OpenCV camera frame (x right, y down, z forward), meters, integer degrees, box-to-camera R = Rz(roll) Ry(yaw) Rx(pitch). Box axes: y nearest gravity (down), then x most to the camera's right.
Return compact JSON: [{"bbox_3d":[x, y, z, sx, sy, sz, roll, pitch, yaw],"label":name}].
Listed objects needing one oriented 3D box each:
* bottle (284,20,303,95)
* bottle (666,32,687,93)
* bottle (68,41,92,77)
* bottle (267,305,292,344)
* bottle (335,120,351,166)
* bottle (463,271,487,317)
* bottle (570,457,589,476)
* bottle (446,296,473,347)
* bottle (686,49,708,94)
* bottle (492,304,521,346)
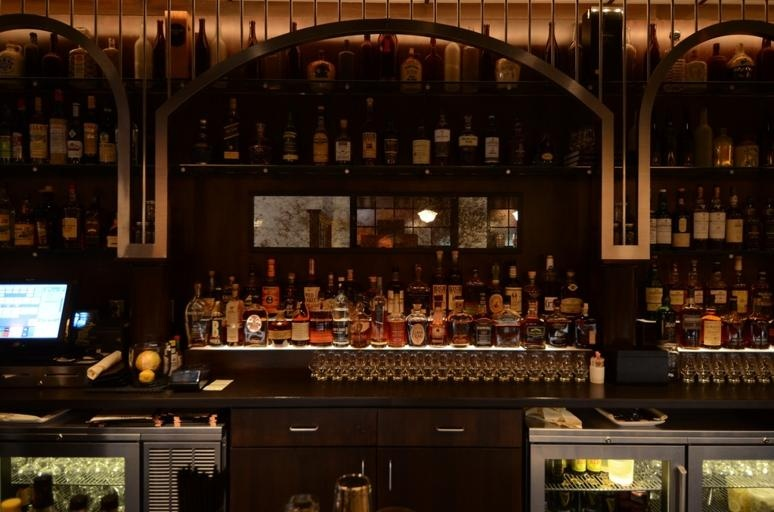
[{"bbox_3d":[-0.619,-1.423,6.173,0.137,0.141,0.454,-15,-37,-13],"label":"bottle"},{"bbox_3d":[1.910,-1.331,6.044,0.129,0.358,0.135,-1,11,0],"label":"bottle"},{"bbox_3d":[-2.048,-1.290,6.046,0.121,0.217,0.117,-2,-5,0],"label":"bottle"},{"bbox_3d":[-0.720,0.471,6.033,0.166,0.250,0.152,-1,2,0],"label":"bottle"},{"bbox_3d":[-0.297,-0.761,6.114,0.132,0.334,0.128,-1,-16,0],"label":"bottle"},{"bbox_3d":[0.603,0.252,6.137,0.127,0.311,0.128,9,-6,1],"label":"bottle"},{"bbox_3d":[1.199,1.306,5.666,0.134,0.125,0.137,-1,-3,16],"label":"bottle"},{"bbox_3d":[0.482,0.422,6.030,0.198,0.320,0.201,-1,14,0],"label":"bottle"},{"bbox_3d":[2.049,-1.284,6.010,0.130,0.067,0.294,3,-35,21],"label":"bottle"},{"bbox_3d":[0.803,0.443,6.063,0.214,0.298,0.204,-1,3,0],"label":"bottle"}]
